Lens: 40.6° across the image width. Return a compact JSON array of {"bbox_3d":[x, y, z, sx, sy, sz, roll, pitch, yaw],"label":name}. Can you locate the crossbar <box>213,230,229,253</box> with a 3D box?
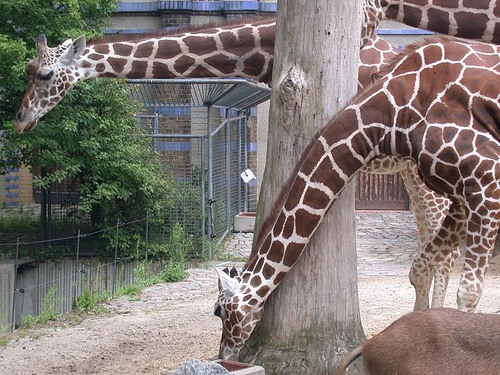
[{"bbox_3d":[-0.718,1.263,17.272,0.088,0.103,0.926,-26,13,28],"label":"crossbar"}]
